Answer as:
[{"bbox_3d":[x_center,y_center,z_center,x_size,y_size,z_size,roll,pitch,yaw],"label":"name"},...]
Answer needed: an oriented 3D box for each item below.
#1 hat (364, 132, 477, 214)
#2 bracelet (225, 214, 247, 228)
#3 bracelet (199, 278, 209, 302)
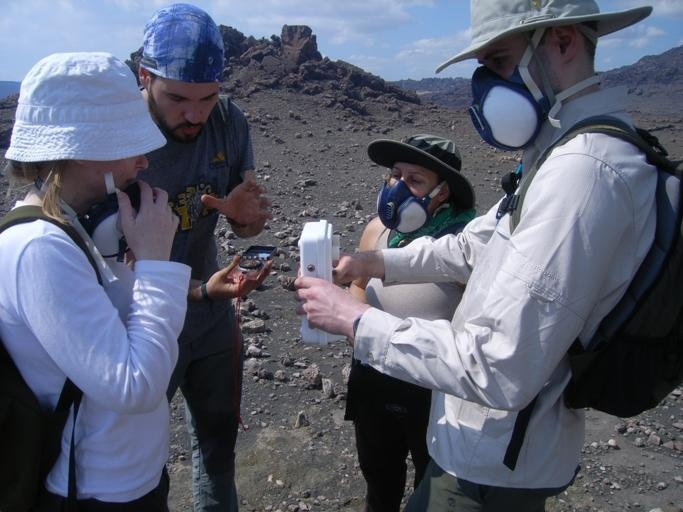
[{"bbox_3d":[0.609,-0.624,3.539,0.691,0.250,0.572,13,10,-43],"label":"hat"},{"bbox_3d":[-0.664,-0.213,3.410,0.073,0.073,0.071,-5,27,2],"label":"bracelet"},{"bbox_3d":[-0.790,0.182,3.180,0.049,0.093,0.070,1,-4,-6],"label":"bracelet"}]
